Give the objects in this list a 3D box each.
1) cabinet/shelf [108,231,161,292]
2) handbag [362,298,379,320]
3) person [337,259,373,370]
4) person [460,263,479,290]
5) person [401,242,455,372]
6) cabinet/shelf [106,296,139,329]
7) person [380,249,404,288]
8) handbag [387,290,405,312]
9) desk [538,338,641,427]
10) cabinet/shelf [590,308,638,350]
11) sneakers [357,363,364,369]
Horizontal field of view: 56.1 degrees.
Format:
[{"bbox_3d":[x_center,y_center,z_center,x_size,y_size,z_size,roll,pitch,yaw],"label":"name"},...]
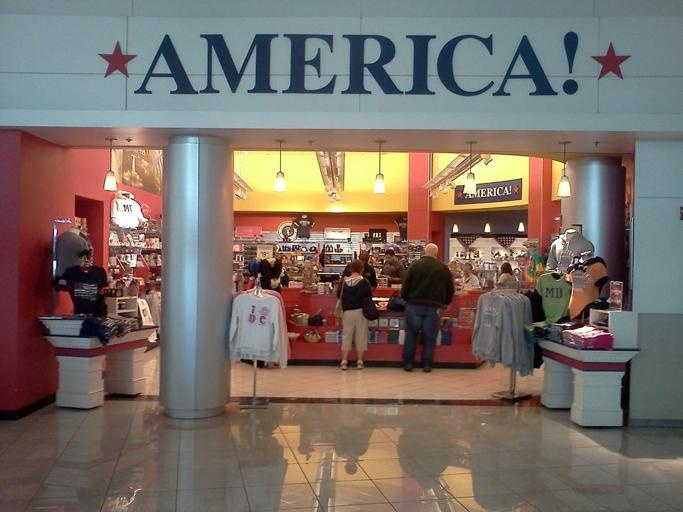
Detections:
[{"bbox_3d":[-3.841,0.039,12.027,0.489,1.298,2.467,0,7,-5],"label":"cabinet/shelf"},{"bbox_3d":[0.453,0.841,10.414,0.269,0.533,0.514,-2,-2,0],"label":"handbag"},{"bbox_3d":[0.215,0.971,10.527,0.541,1.758,0.400,1,6,-1],"label":"person"},{"bbox_3d":[2.442,0.395,12.098,0.363,0.469,0.756,2,7,12],"label":"person"},{"bbox_3d":[1.364,0.947,10.392,0.797,1.854,0.274,2,6,10],"label":"person"},{"bbox_3d":[-3.372,0.866,9.839,0.142,0.396,0.417,-2,-2,15],"label":"cabinet/shelf"},{"bbox_3d":[1.049,0.204,13.088,0.436,0.739,0.756,1,7,4],"label":"person"},{"bbox_3d":[0.911,0.770,10.711,0.319,0.351,0.247,2,-8,6],"label":"handbag"},{"bbox_3d":[3.163,1.564,8.294,0.784,1.051,1.603,0,0,-5],"label":"desk"},{"bbox_3d":[3.455,1.027,8.160,0.372,0.558,0.744,1,0,2],"label":"cabinet/shelf"},{"bbox_3d":[0.313,1.813,10.575,0.074,0.066,0.195,-1,-4,1],"label":"sneakers"}]
